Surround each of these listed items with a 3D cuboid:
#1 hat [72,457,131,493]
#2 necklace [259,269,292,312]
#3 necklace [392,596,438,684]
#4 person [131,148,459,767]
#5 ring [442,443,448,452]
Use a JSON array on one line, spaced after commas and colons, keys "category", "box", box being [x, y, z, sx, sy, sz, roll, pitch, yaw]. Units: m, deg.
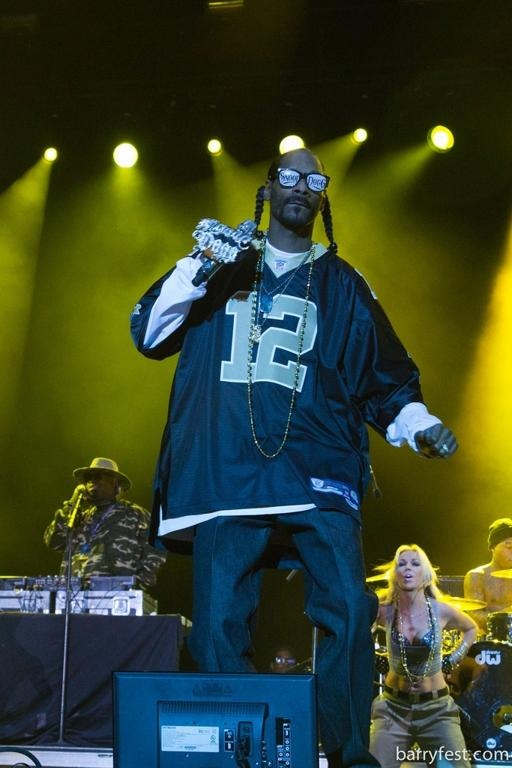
[{"category": "hat", "box": [-1.253, 0.701, 7.127, 0.375, 0.129, 0.359, 3, -28, 11]}, {"category": "necklace", "box": [0.060, -0.298, 2.668, 0.113, 0.125, 0.060, 5, -21, 7]}, {"category": "necklace", "box": [0.888, 1.455, 4.611, 0.195, 0.314, 0.086, -8, -50, 20]}, {"category": "person", "box": [0.089, 0.121, 2.486, 0.916, 1.824, 0.501, 1, -14, -8]}, {"category": "ring", "box": [0.538, 0.176, 2.376, 0.015, 0.022, 0.007, -3, -2, 7]}]
